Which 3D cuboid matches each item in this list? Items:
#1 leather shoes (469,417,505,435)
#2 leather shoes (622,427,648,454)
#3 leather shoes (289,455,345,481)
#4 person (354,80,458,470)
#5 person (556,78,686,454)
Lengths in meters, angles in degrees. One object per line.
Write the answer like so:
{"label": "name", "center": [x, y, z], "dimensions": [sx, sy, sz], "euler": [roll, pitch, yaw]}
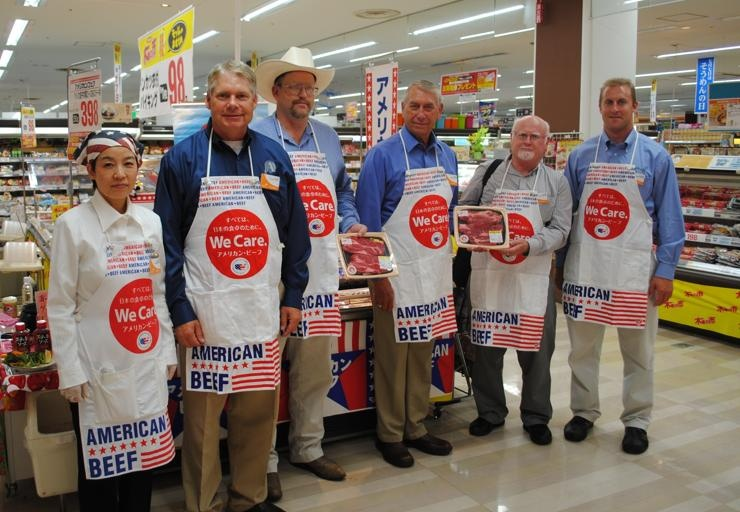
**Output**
{"label": "leather shoes", "center": [0.920, 1.351, 4.544], "dimensions": [0.270, 0.113, 0.113], "euler": [2, 2, -37]}
{"label": "leather shoes", "center": [2.005, 1.394, 4.324], "dimensions": [0.182, 0.127, 0.284], "euler": [8, 17, 27]}
{"label": "leather shoes", "center": [-0.366, 1.483, 4.002], "dimensions": [0.385, 0.118, 0.142], "euler": [3, 9, 30]}
{"label": "person", "center": [0.327, 0.120, 4.122], "dimensions": [0.708, 2.697, 0.683], "euler": [-7, 16, -27]}
{"label": "person", "center": [1.838, 0.039, 4.337], "dimensions": [0.885, 2.731, 0.686], "euler": [8, 16, 28]}
